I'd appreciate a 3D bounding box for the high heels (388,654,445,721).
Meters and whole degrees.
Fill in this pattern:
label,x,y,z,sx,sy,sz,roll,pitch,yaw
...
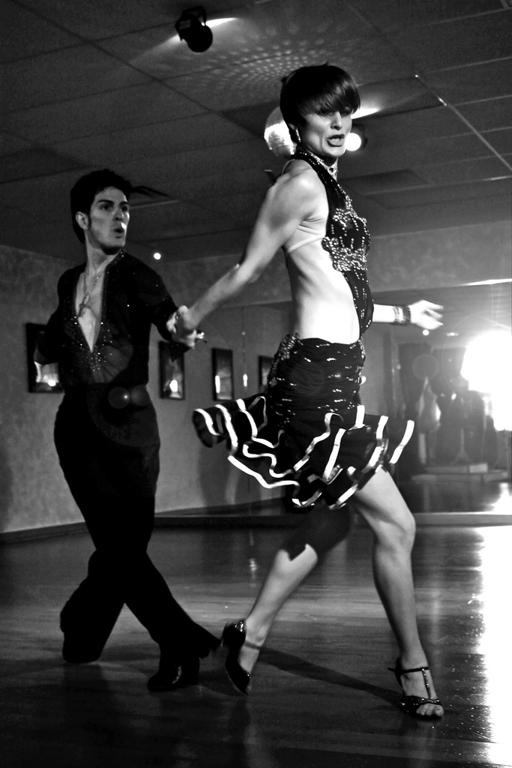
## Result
label,x,y,z,sx,sy,sz,roll,pitch,yaw
high heels,0.317,0.603,1.483,0.055,0.052,0.149,-5,0,-10

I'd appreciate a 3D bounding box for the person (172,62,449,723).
label,x,y,z,sx,sy,sz,roll,pitch,yaw
person,0.129,0.005,1.568,0.588,1.277,0.318,3,1,13

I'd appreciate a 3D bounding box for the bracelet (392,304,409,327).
label,x,y,z,sx,sy,sz,roll,pitch,yaw
bracelet,0.343,-0.159,1.702,0.038,0.045,0.053,-11,-16,38

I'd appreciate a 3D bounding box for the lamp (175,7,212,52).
label,x,y,z,sx,sy,sz,roll,pitch,yaw
lamp,-0.285,-1.622,3.365,0.142,0.168,0.062,-22,21,21

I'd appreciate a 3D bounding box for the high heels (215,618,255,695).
label,x,y,z,sx,sy,sz,roll,pitch,yaw
high heels,-0.043,0.607,1.689,0.086,0.180,0.068,-9,-4,30
